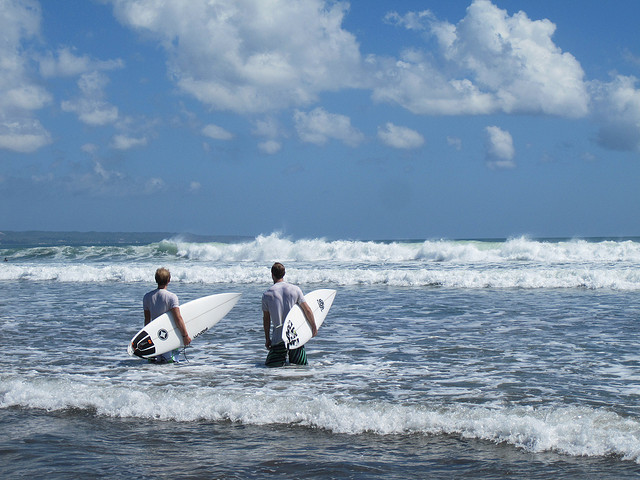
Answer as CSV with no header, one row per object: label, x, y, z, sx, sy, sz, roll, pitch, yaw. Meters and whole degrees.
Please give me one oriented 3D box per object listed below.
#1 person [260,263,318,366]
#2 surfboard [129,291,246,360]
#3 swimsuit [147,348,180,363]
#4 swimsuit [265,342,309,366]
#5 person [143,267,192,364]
person,-0.473,1.164,12.399,0.834,1.715,0.756,-1,11,-4
surfboard,-2.028,1.281,13.276,0.188,0.533,2.268,-39,-6,33
swimsuit,-2.521,1.853,12.774,0.462,0.248,0.281,-4,11,-21
swimsuit,-0.526,1.784,12.448,0.402,0.272,0.924,8,3,-2
person,-2.430,1.195,12.736,0.745,1.600,0.726,-1,11,0
